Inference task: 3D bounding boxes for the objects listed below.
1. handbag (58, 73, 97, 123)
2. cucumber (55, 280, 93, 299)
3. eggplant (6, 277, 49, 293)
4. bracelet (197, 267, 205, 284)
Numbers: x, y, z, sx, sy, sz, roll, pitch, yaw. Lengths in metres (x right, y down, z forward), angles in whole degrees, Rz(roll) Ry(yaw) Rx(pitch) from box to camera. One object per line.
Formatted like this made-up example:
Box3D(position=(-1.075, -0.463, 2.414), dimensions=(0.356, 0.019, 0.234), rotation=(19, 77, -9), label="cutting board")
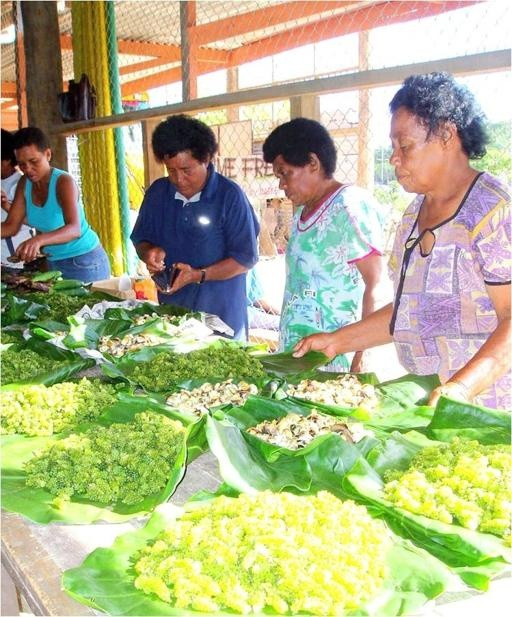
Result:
Box3D(position=(-1.797, -2.116, 5.282), dimensions=(0.300, 0.490, 0.477), rotation=(-9, 8, -35), label="handbag")
Box3D(position=(-1.015, -0.109, 2.848), dimensions=(0.155, 0.049, 0.119), rotation=(10, 16, 34), label="cucumber")
Box3D(position=(-1.250, -0.132, 2.823), dimensions=(0.177, 0.041, 0.118), rotation=(14, 23, 30), label="eggplant")
Box3D(position=(-0.283, -0.158, 2.669), dimensions=(0.049, 0.065, 0.064), rotation=(-1, 27, -13), label="bracelet")
